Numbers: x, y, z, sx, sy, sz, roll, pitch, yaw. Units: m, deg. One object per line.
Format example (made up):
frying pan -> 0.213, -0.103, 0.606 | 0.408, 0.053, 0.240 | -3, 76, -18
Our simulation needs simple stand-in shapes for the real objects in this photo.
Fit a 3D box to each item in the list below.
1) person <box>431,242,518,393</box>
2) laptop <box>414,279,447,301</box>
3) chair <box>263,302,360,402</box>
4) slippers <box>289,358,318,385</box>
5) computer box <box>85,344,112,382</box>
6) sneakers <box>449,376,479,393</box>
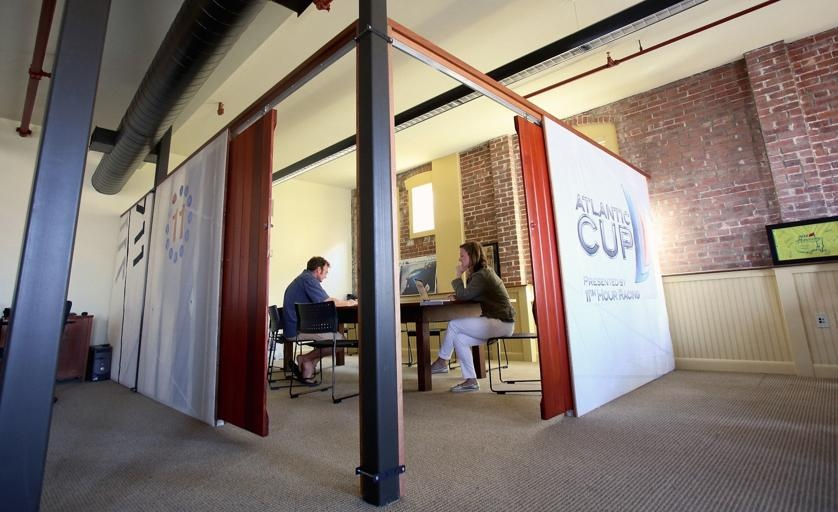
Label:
person -> 0.721, 0.823, 6.626 | 1.085, 1.927, 0.953 | -2, 10, 1
laptop -> 0.249, 0.621, 9.010 | 0.562, 0.388, 0.561 | -1, -5, 15
chair -> -1.515, 1.362, 6.848 | 0.615, 1.034, 1.628 | 2, -5, -35
slippers -> -1.720, 1.743, 7.148 | 0.693, 0.161, 0.215 | 21, 16, 40
computer box -> -5.409, 1.759, 8.171 | 0.430, 0.566, 0.318 | -6, -23, -10
sneakers -> 0.593, 1.699, 6.415 | 0.361, 0.160, 0.162 | 4, -12, -4
